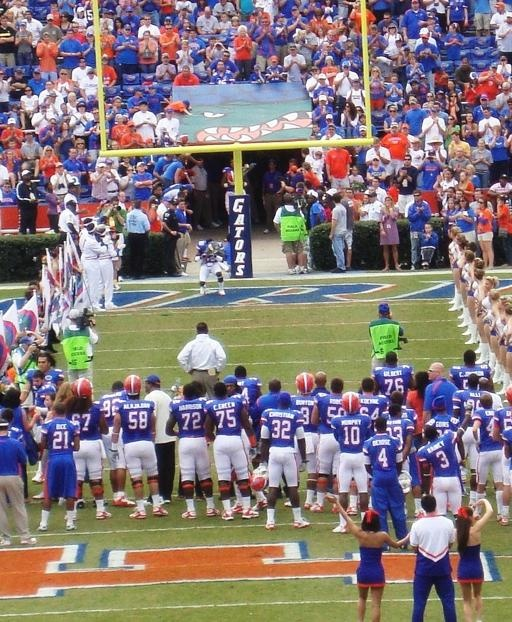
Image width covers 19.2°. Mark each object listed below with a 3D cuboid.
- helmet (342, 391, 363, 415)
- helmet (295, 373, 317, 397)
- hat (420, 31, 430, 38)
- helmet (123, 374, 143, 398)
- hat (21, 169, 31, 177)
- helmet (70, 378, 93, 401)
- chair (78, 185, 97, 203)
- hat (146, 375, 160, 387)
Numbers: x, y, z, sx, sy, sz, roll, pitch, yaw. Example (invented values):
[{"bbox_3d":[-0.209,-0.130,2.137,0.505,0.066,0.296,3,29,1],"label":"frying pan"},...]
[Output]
[{"bbox_3d":[1.013,0.961,16.429,0.167,0.229,0.196,1,-21,3],"label":"helmet"},{"bbox_3d":[0.558,0.810,17.420,0.203,0.256,0.299,-2,7,4],"label":"helmet"},{"bbox_3d":[3.793,-6.353,34.466,0.172,0.131,0.243,4,1,21],"label":"hat"},{"bbox_3d":[-1.409,0.794,17.399,0.178,0.260,0.252,2,38,-3],"label":"helmet"},{"bbox_3d":[-4.489,-2.771,29.763,0.167,0.129,0.169,-4,-8,45],"label":"hat"},{"bbox_3d":[-1.997,0.874,17.399,0.221,0.237,0.314,-4,7,-13],"label":"helmet"},{"bbox_3d":[-3.478,-2.444,31.288,0.493,0.377,0.331,1,12,-1],"label":"chair"},{"bbox_3d":[-1.217,0.797,17.846,0.152,0.160,0.266,-3,7,-8],"label":"hat"}]
